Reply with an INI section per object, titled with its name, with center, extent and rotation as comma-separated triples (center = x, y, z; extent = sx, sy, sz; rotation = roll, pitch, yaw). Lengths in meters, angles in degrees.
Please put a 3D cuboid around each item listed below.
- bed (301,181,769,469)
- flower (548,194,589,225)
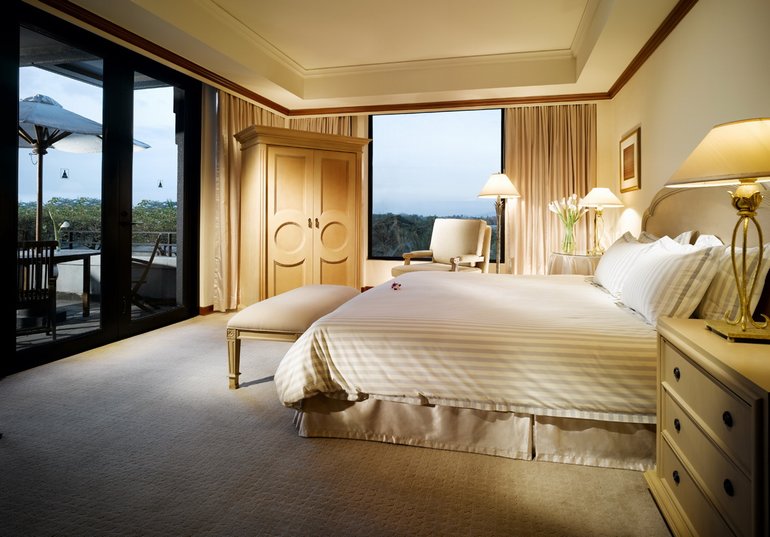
[bed]
center = 0.660, 0.484, 3.088
extent = 1.749, 1.162, 1.824
rotation = 0, 3, 14
[flower]
center = 2.020, -0.658, 5.596
extent = 0.420, 0.428, 0.474
rotation = 3, 7, 41
